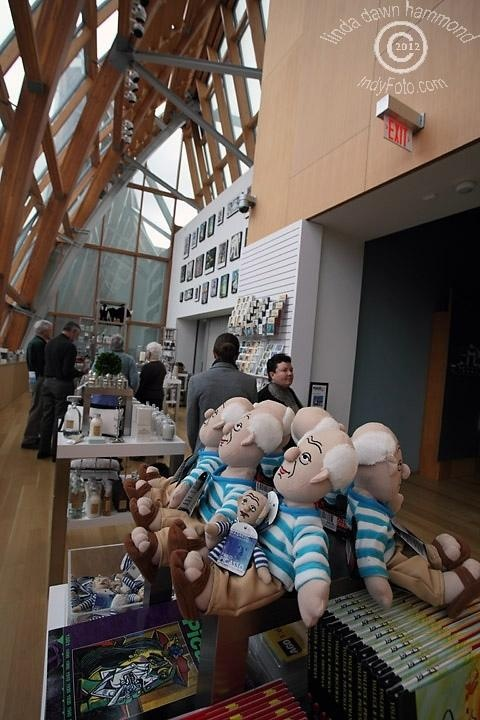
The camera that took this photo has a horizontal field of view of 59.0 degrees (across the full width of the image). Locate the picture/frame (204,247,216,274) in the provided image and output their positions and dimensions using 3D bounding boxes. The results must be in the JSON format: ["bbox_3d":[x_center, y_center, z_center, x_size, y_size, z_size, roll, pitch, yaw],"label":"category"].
[{"bbox_3d":[-0.658,-2.125,9.235,0.086,0.753,0.647,5,-8,-21],"label":"picture/frame"}]

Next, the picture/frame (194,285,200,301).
[{"bbox_3d":[-1.030,-1.550,10.032,0.046,0.485,0.392,3,-3,-20],"label":"picture/frame"}]

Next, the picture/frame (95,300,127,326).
[{"bbox_3d":[-1.539,-0.547,5.103,0.348,0.273,0.393,9,-3,-17],"label":"picture/frame"}]

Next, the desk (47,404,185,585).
[{"bbox_3d":[-0.835,0.775,2.705,0.732,0.816,0.756,4,-3,-29],"label":"desk"}]

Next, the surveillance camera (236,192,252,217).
[{"bbox_3d":[0.079,-1.902,5.132,0.170,0.216,0.348,8,-3,-11],"label":"surveillance camera"}]

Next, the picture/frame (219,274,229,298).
[{"bbox_3d":[-0.306,-1.379,8.069,0.062,0.644,0.444,5,-7,-17],"label":"picture/frame"}]
